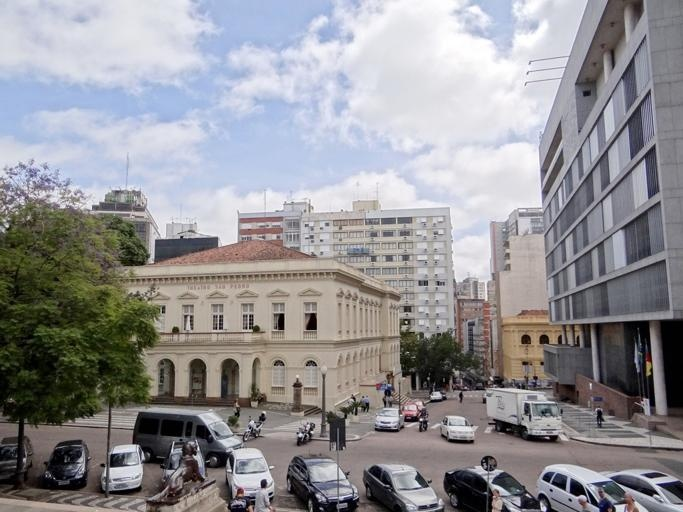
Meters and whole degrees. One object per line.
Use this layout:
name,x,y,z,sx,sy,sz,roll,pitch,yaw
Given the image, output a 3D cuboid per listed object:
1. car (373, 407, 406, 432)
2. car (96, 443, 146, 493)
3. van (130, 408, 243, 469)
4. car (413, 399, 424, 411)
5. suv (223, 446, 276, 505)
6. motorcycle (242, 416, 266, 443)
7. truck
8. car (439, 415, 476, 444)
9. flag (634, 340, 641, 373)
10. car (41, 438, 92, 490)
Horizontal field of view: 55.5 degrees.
car,3.590,12.219,48.357,1.695,1.656,2.362,-7,-14,18
car,-11.035,10.927,33.182,1.685,2.079,2.029,0,-14,-11
van,-8.879,10.506,37.818,5.563,2.750,3.040,-3,-8,10
car,6.729,12.803,55.785,0.722,0.908,1.668,-11,-38,10
suv,-4.658,10.958,32.835,2.127,1.905,4.666,1,0,-15
motorcycle,-5.995,11.535,43.204,0.747,0.948,1.704,9,-22,20
truck,12.899,11.165,46.177,2.655,3.076,6.341,1,-7,-14
car,7.827,11.792,43.843,1.633,1.138,3.351,0,-21,2
flag,22.590,7.565,49.395,0.464,2.390,2.528,-8,-14,23
car,-14.117,10.854,33.658,1.485,1.101,2.926,4,-2,-18
